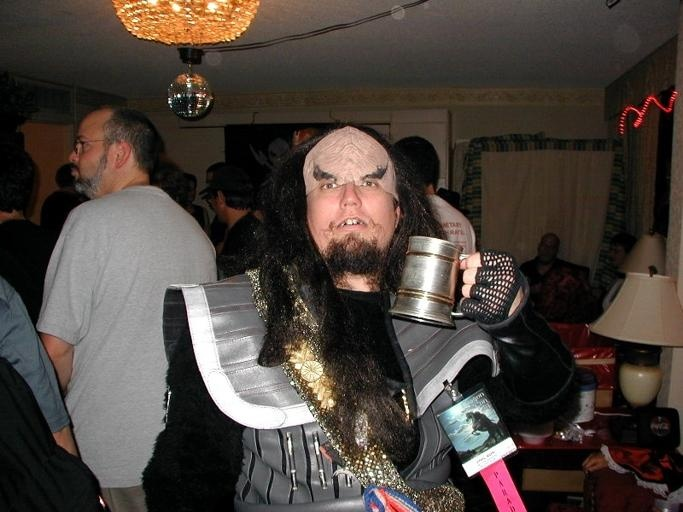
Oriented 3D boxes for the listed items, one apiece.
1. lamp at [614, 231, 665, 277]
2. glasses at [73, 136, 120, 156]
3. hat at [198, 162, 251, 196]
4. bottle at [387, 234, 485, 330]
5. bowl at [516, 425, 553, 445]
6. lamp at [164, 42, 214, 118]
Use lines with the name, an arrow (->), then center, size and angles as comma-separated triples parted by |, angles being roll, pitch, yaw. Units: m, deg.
lamp -> 2.092, -0.003, 3.941 | 0.423, 0.325, 0.404 | 6, 2, 20
glasses -> -1.016, -0.455, 2.320 | 0.108, 0.038, 0.115 | 4, 3, 40
hat -> -0.731, -0.491, 3.633 | 0.265, 0.154, 0.201 | 11, 16, 26
bottle -> 0.294, 0.088, 1.659 | 0.171, 0.248, 0.283 | 11, -14, 17
bowl -> 0.901, 0.824, 2.644 | 0.115, 0.094, 0.125 | -4, -4, 0
lamp -> -0.981, -1.130, 3.763 | 0.308, 0.467, 0.323 | 11, 20, 32
